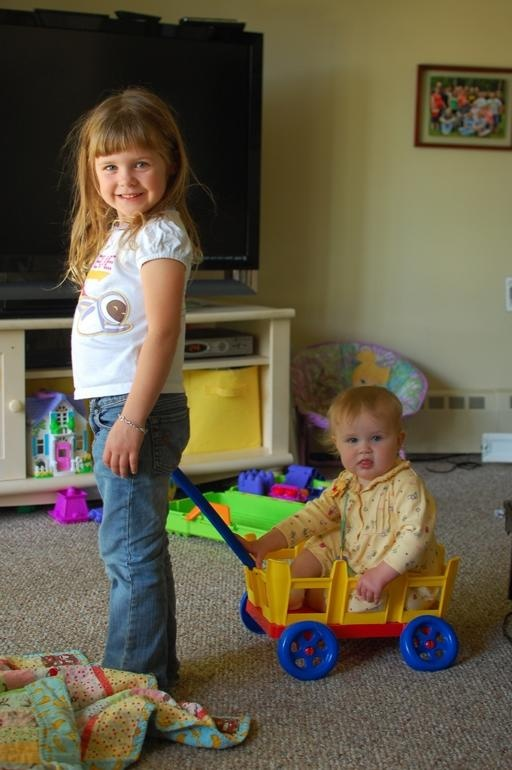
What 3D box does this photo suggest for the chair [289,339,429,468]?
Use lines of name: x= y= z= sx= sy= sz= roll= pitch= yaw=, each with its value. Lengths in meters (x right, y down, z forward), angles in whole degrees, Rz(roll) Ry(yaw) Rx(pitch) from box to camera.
chair: x=0.315 y=0.073 z=2.500 sx=0.489 sy=0.424 sz=0.508 roll=-2 pitch=0 yaw=-28

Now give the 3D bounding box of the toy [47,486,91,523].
toy: x=-0.528 y=0.343 z=1.836 sx=0.101 sy=0.082 sz=0.098 roll=-4 pitch=10 yaw=-24

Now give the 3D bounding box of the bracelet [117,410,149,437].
bracelet: x=-0.145 y=0.046 z=0.770 sx=0.029 sy=0.007 sz=0.024 roll=29 pitch=-3 yaw=-8

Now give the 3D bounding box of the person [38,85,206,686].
person: x=-0.167 y=0.011 z=0.923 sx=0.185 sy=0.866 sz=0.322 roll=0 pitch=3 yaw=-16
